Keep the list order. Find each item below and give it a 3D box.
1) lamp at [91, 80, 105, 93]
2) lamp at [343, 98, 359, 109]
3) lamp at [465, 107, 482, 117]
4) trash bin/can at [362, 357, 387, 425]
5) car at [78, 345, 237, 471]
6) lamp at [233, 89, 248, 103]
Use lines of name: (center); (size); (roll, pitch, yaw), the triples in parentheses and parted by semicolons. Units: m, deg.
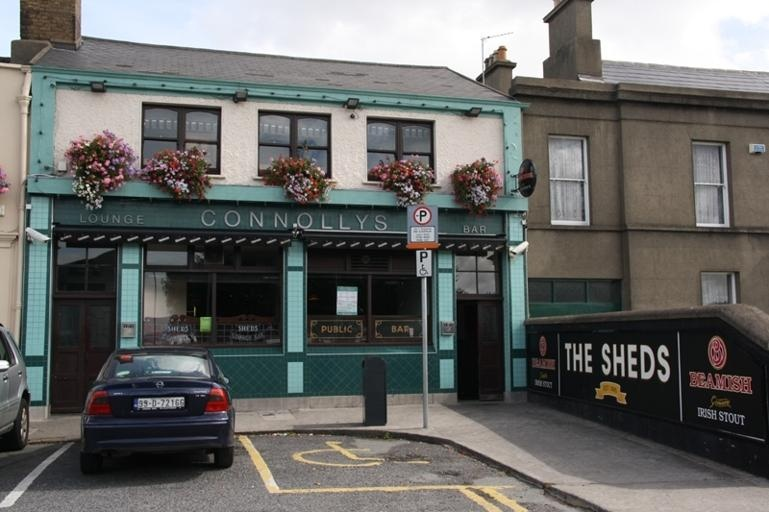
lamp: (-7.071, -4.142, 20.314); (0.302, 0.276, 0.279); (0, 3, -16)
lamp: (-0.820, -3.975, 21.679); (0.418, 0.268, 0.350); (0, 3, -9)
lamp: (2.453, -3.887, 22.402); (0.429, 0.251, 0.195); (0, 3, -5)
trash bin/can: (-0.200, 2.981, 18.275); (0.514, 1.471, 0.373); (0, 3, -6)
car: (-4.001, 2.589, 14.482); (1.663, 1.234, 2.996); (1, -3, -13)
lamp: (-3.654, -4.052, 21.026); (0.373, 0.300, 0.271); (-5, 16, -18)
